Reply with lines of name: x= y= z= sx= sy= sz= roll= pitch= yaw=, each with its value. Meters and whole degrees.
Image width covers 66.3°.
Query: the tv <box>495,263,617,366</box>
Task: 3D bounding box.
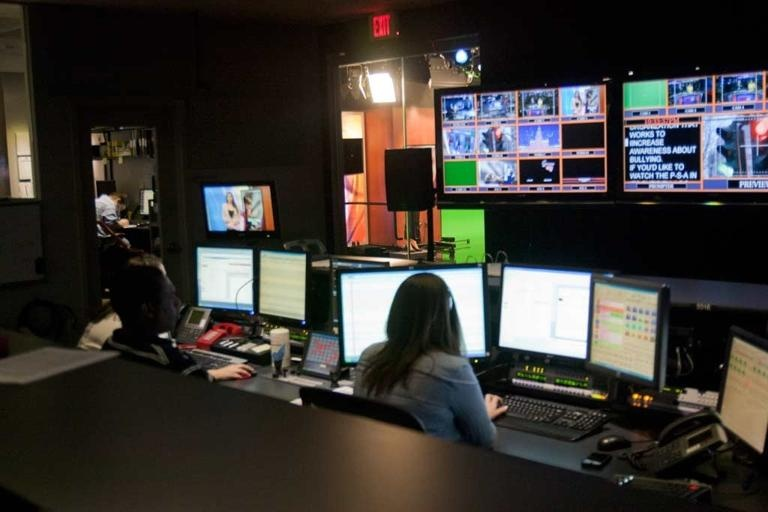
tv: x=0.895 y=0.309 z=3.041 sx=0.518 sy=0.431 sz=0.169 roll=5 pitch=5 yaw=30

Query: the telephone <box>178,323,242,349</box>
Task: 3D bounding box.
telephone: x=-1.131 y=0.532 z=3.950 sx=0.222 sy=0.081 sz=0.224 roll=-5 pitch=9 yaw=42

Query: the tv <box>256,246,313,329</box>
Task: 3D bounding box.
tv: x=-0.625 y=0.203 z=3.726 sx=0.519 sy=0.493 sz=0.068 roll=3 pitch=3 yaw=38

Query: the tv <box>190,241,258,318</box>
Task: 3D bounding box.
tv: x=-1.092 y=0.175 z=4.076 sx=0.638 sy=0.473 sz=0.053 roll=2 pitch=4 yaw=36

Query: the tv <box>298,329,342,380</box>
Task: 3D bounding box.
tv: x=-0.366 y=0.561 z=3.363 sx=0.252 sy=0.241 sz=0.061 roll=7 pitch=-11 yaw=28

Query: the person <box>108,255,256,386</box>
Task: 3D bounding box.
person: x=-1.089 y=0.300 z=2.996 sx=0.634 sy=0.561 sz=0.938 roll=-5 pitch=6 yaw=-29

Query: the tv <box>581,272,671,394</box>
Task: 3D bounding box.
tv: x=1.156 y=0.375 z=2.803 sx=0.137 sy=0.629 sz=0.541 roll=-3 pitch=8 yaw=-39

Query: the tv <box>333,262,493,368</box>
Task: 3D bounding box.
tv: x=0.140 y=0.285 z=2.852 sx=0.568 sy=0.346 sz=0.050 roll=-1 pitch=0 yaw=6

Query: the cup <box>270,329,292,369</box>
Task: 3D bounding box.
cup: x=-0.627 y=0.555 z=3.493 sx=0.177 sy=0.207 sz=0.174 roll=-1 pitch=4 yaw=0

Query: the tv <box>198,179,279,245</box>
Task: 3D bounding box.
tv: x=-1.451 y=-0.438 z=5.876 sx=0.751 sy=0.510 sz=0.076 roll=2 pitch=12 yaw=20

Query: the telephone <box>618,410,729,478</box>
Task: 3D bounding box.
telephone: x=1.172 y=0.752 z=2.372 sx=0.356 sy=0.258 sz=0.281 roll=7 pitch=9 yaw=33

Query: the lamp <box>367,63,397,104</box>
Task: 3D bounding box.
lamp: x=-0.026 y=-2.152 z=7.444 sx=0.375 sy=0.366 sz=0.471 roll=2 pitch=8 yaw=0

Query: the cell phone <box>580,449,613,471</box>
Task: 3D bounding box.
cell phone: x=0.891 y=0.852 z=2.460 sx=0.168 sy=0.038 sz=0.076 roll=-5 pitch=10 yaw=-42

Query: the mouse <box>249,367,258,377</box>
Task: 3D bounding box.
mouse: x=-0.768 y=0.678 z=3.441 sx=0.050 sy=0.025 sz=0.101 roll=0 pitch=4 yaw=-12

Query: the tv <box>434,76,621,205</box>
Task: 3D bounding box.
tv: x=1.080 y=-0.867 z=4.621 sx=1.365 sy=0.824 sz=0.027 roll=-2 pitch=5 yaw=1

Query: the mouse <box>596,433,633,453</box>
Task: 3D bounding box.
mouse: x=0.993 y=0.803 z=2.553 sx=0.123 sy=0.032 sz=0.069 roll=-3 pitch=8 yaw=-22
